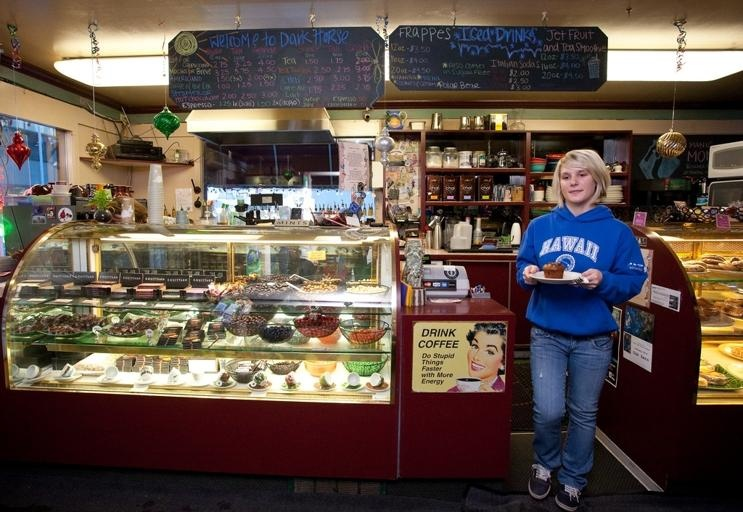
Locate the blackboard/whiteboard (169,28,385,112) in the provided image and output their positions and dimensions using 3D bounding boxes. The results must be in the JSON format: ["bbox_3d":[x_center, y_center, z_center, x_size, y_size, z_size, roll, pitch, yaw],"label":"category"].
[{"bbox_3d":[-0.810,-1.646,4.725,2.018,0.626,0.031,2,15,8],"label":"blackboard/whiteboard"}]

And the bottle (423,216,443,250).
[{"bbox_3d":[0.751,-0.272,6.466,0.211,0.396,0.217,-3,7,0],"label":"bottle"}]

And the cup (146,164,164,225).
[{"bbox_3d":[-1.746,-0.487,4.269,0.135,0.474,0.235,-6,8,-23],"label":"cup"}]

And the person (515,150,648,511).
[{"bbox_3d":[1.440,0.503,3.696,0.808,2.433,0.497,-1,7,13],"label":"person"}]

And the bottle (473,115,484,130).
[{"bbox_3d":[1.327,-1.630,6.627,0.147,0.189,0.266,-1,7,10],"label":"bottle"}]

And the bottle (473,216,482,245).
[{"bbox_3d":[1.303,-0.309,6.571,0.105,0.322,0.521,-1,7,11],"label":"bottle"}]

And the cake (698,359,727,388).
[{"bbox_3d":[2.507,0.870,3.906,0.177,0.045,0.169,-7,8,-20],"label":"cake"}]

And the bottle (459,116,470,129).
[{"bbox_3d":[1.167,-1.621,6.620,0.175,0.165,0.163,0,-1,14],"label":"bottle"}]

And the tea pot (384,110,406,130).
[{"bbox_3d":[0.285,-1.646,6.486,0.230,0.259,0.551,-2,7,1],"label":"tea pot"}]

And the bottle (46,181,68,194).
[{"bbox_3d":[-2.846,-0.603,4.854,0.224,0.127,0.211,1,0,0],"label":"bottle"}]

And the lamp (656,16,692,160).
[{"bbox_3d":[3.041,-1.620,5.327,0.329,1.280,0.338,5,17,24],"label":"lamp"}]

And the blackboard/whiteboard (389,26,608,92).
[{"bbox_3d":[1.135,-1.750,4.771,2.094,0.540,0.035,-3,13,-8],"label":"blackboard/whiteboard"}]

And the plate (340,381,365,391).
[{"bbox_3d":[-0.139,0.935,3.908,0.145,0.077,0.076,-3,7,-4],"label":"plate"}]

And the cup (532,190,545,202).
[{"bbox_3d":[2.091,-0.737,6.722,0.155,0.145,0.142,3,-3,0],"label":"cup"}]

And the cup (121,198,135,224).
[{"bbox_3d":[-2.019,-0.370,4.390,0.109,0.197,0.144,-5,8,-22],"label":"cup"}]

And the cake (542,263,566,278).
[{"bbox_3d":[1.214,0.098,3.547,0.114,0.070,0.105,2,2,3],"label":"cake"}]

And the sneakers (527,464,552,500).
[{"bbox_3d":[1.210,1.573,3.822,0.158,0.132,0.387,14,14,15],"label":"sneakers"}]
